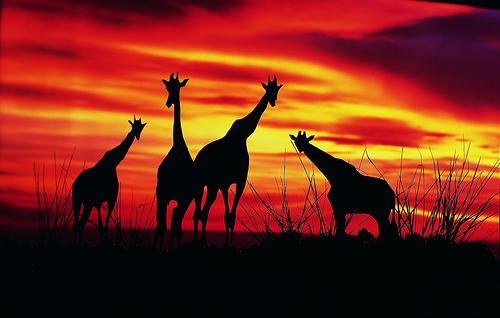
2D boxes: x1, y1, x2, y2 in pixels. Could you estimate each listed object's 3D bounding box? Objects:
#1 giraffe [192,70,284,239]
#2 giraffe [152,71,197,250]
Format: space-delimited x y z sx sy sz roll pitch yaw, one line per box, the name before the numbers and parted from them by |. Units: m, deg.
giraffe | -0.146 -0.053 8.781 0.709 1.574 0.255 6 3 -2
giraffe | -0.681 0.005 8.735 0.453 1.650 0.213 7 3 8
